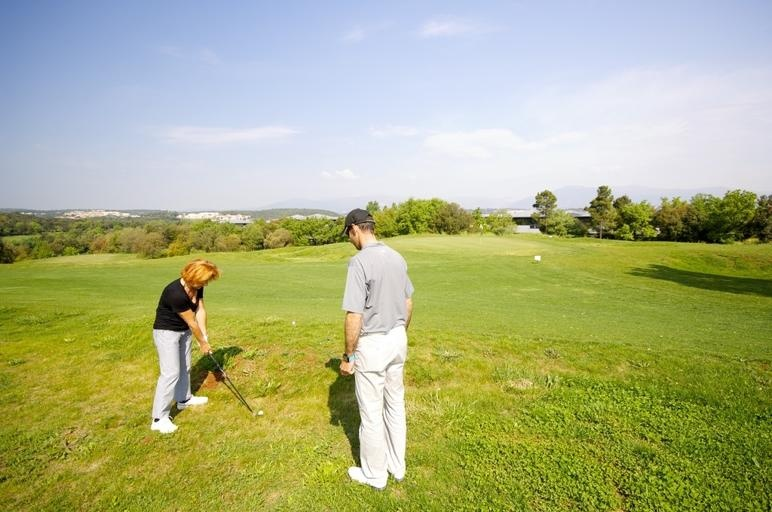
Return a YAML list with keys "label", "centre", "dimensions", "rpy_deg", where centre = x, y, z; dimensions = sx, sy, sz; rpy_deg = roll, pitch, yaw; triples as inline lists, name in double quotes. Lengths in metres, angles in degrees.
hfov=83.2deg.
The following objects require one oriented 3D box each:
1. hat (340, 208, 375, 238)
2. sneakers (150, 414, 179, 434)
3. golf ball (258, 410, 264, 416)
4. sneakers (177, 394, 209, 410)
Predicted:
- label: "hat"
  centre: [-0.581, -0.719, 8.891]
  dimensions: [0.623, 0.491, 0.841]
  rpy_deg: [-5, -2, -44]
- label: "sneakers"
  centre: [-4.955, 3.726, 9.686]
  dimensions: [0.564, 0.232, 0.297]
  rpy_deg: [5, -6, 3]
- label: "golf ball"
  centre: [-2.950, 3.640, 10.158]
  dimensions: [0.155, 0.065, 0.159]
  rpy_deg: [0, 5, 0]
- label: "sneakers"
  centre: [-4.619, 3.448, 10.411]
  dimensions: [0.700, 0.280, 0.290]
  rpy_deg: [-8, 9, -27]
